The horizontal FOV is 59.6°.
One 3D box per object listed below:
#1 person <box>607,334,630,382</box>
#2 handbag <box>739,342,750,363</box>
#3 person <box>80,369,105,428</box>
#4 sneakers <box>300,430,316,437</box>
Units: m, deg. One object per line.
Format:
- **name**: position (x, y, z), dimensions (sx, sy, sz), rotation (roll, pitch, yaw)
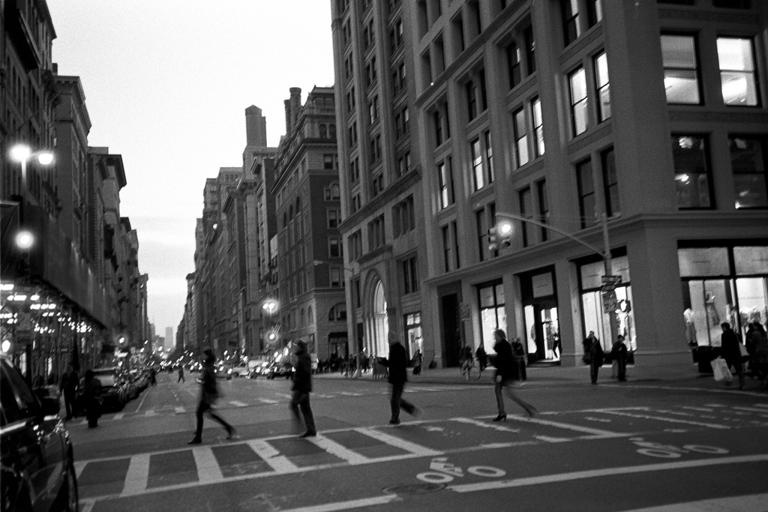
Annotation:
- **person**: position (10.358, 4.524, 29.756), dimensions (0.627, 2.011, 1.480), rotation (-6, -12, 18)
- **handbag**: position (13.098, 3.385, 24.481), dimensions (0.152, 0.656, 0.673), rotation (-11, -50, 8)
- **person**: position (-11.116, 5.398, 25.511), dimensions (0.607, 2.227, 1.121), rotation (2, -12, -25)
- **sneakers**: position (-2.065, 4.831, 18.315), dimensions (0.490, 0.235, 0.170), rotation (0, -7, 24)
